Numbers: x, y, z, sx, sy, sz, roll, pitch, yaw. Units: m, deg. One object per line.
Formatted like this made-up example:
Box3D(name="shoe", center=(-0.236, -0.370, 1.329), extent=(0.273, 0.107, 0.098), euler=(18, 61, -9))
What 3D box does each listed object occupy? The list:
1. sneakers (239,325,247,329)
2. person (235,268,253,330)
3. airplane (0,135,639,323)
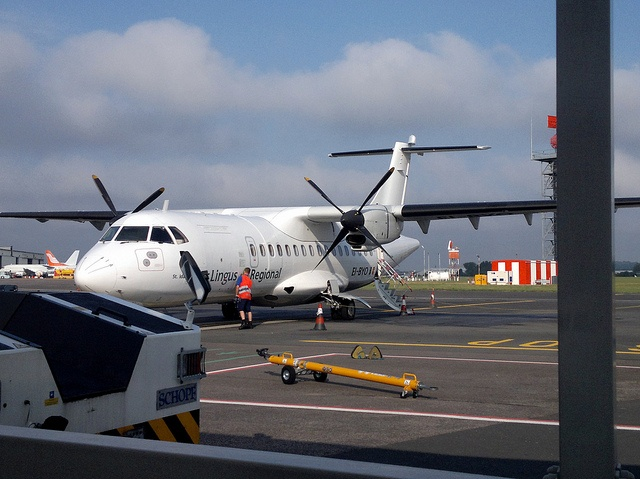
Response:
Box3D(name="sneakers", center=(-1.820, 2.060, 19.835), extent=(0.149, 0.105, 0.336), euler=(-2, -2, -5))
Box3D(name="person", center=(-1.815, 1.395, 20.096), extent=(0.367, 1.463, 0.864), euler=(-2, -2, -5))
Box3D(name="airplane", center=(-1.555, 0.241, 22.016), extent=(11.060, 4.045, 5.426), euler=(-1, -3, -33))
